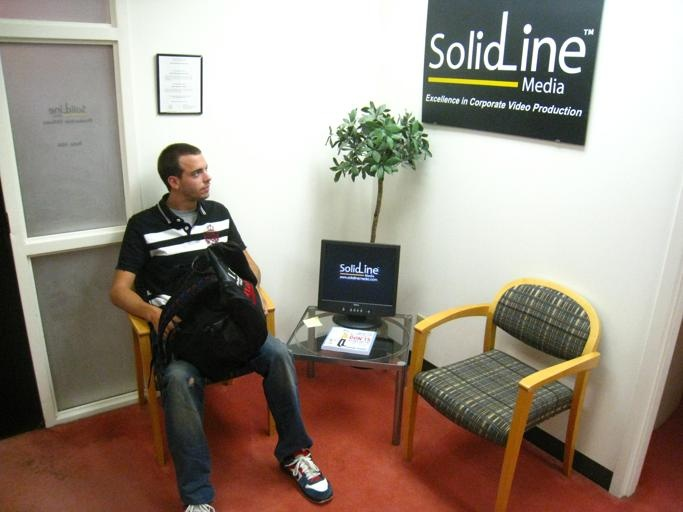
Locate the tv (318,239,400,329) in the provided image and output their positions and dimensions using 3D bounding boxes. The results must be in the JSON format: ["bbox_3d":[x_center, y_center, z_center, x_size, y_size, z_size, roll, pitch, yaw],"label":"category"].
[{"bbox_3d":[0.108,0.155,3.327,0.482,0.552,0.279,4,23,2],"label":"tv"}]

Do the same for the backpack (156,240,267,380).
[{"bbox_3d":[-0.574,0.243,2.791,0.318,0.637,0.569,-14,6,-1],"label":"backpack"}]

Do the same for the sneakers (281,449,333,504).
[{"bbox_3d":[-0.171,1.140,2.741,0.131,0.134,0.318,-19,49,-44],"label":"sneakers"}]

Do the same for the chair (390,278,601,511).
[{"bbox_3d":[0.767,0.484,3.092,1.067,1.462,0.980,-16,27,-33],"label":"chair"}]

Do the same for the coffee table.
[{"bbox_3d":[0.055,0.727,3.300,0.848,0.550,0.881,9,19,25],"label":"coffee table"}]
